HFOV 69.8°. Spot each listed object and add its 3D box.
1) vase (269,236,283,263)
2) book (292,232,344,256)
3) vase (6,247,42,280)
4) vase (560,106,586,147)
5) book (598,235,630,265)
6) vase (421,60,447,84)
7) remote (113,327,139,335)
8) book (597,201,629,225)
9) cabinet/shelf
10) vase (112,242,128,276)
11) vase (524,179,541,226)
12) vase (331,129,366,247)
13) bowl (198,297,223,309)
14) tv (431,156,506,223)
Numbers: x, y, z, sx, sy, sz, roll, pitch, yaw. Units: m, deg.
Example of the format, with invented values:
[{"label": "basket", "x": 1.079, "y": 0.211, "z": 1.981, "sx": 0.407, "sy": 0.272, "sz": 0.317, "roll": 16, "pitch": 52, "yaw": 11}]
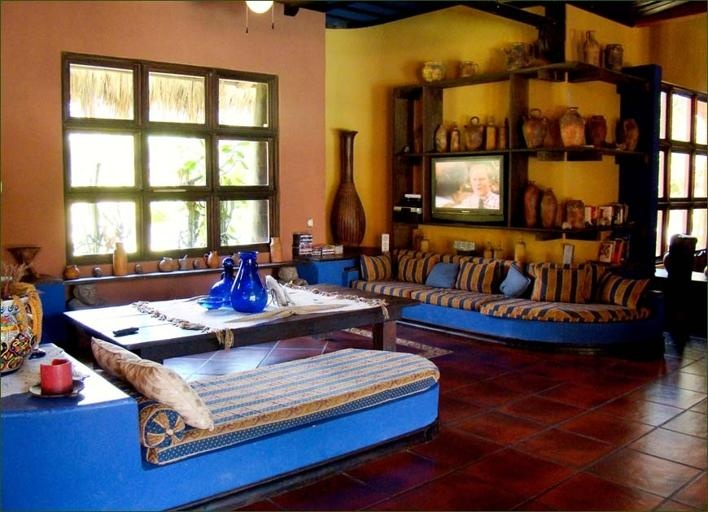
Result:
[{"label": "vase", "x": -1.020, "y": -0.094, "z": 6.674, "sx": 0.163, "sy": 0.322, "sz": 0.214, "roll": -2, "pitch": 9, "yaw": -9}, {"label": "book", "x": -0.483, "y": -0.177, "z": 6.958, "sx": 0.638, "sy": 0.315, "sz": 0.341, "roll": -6, "pitch": 10, "yaw": -34}, {"label": "vase", "x": -3.225, "y": 0.054, "z": 5.092, "sx": 0.322, "sy": 0.337, "sz": 0.269, "roll": 5, "pitch": 11, "yaw": 31}, {"label": "vase", "x": 2.570, "y": -1.524, "z": 5.985, "sx": 0.284, "sy": 0.488, "sz": 0.530, "roll": 3, "pitch": 9, "yaw": 20}, {"label": "book", "x": 3.328, "y": -0.070, "z": 6.545, "sx": 0.359, "sy": 0.333, "sz": 0.084, "roll": 4, "pitch": -12, "yaw": 13}, {"label": "vase", "x": 1.068, "y": -2.556, "z": 7.118, "sx": 0.370, "sy": 0.318, "sz": 0.343, "roll": -2, "pitch": 6, "yaw": -21}, {"label": "remote", "x": -1.516, "y": 0.501, "z": 3.400, "sx": 0.171, "sy": 0.030, "sz": 0.114, "roll": -7, "pitch": 11, "yaw": -40}, {"label": "book", "x": 3.272, "y": -0.553, "z": 6.447, "sx": 0.344, "sy": 0.301, "sz": 0.185, "roll": -1, "pitch": 7, "yaw": -19}, {"label": "cabinet/shelf", "x": 2.346, "y": -1.152, "z": 6.592, "sx": 3.014, "sy": 2.494, "sz": 1.033, "roll": 5, "pitch": 9, "yaw": 40}, {"label": "vase", "x": -2.586, "y": 0.020, "z": 5.582, "sx": 0.141, "sy": 0.361, "sz": 0.112, "roll": -3, "pitch": 10, "yaw": -18}, {"label": "vase", "x": 2.188, "y": -0.643, "z": 6.241, "sx": 0.208, "sy": 0.551, "sz": 0.229, "roll": 3, "pitch": 10, "yaw": 17}, {"label": "vase", "x": -0.112, "y": -0.981, "z": 7.334, "sx": 0.445, "sy": 1.664, "sz": 0.371, "roll": -4, "pitch": 10, "yaw": -21}, {"label": "bowl", "x": -1.133, "y": 0.363, "z": 4.032, "sx": 0.128, "sy": 0.042, "sz": 0.122, "roll": 1, "pitch": 6, "yaw": 0}, {"label": "tv", "x": 1.636, "y": -0.921, "z": 6.937, "sx": 1.099, "sy": 0.899, "sz": 0.406, "roll": 8, "pitch": 15, "yaw": 42}]
